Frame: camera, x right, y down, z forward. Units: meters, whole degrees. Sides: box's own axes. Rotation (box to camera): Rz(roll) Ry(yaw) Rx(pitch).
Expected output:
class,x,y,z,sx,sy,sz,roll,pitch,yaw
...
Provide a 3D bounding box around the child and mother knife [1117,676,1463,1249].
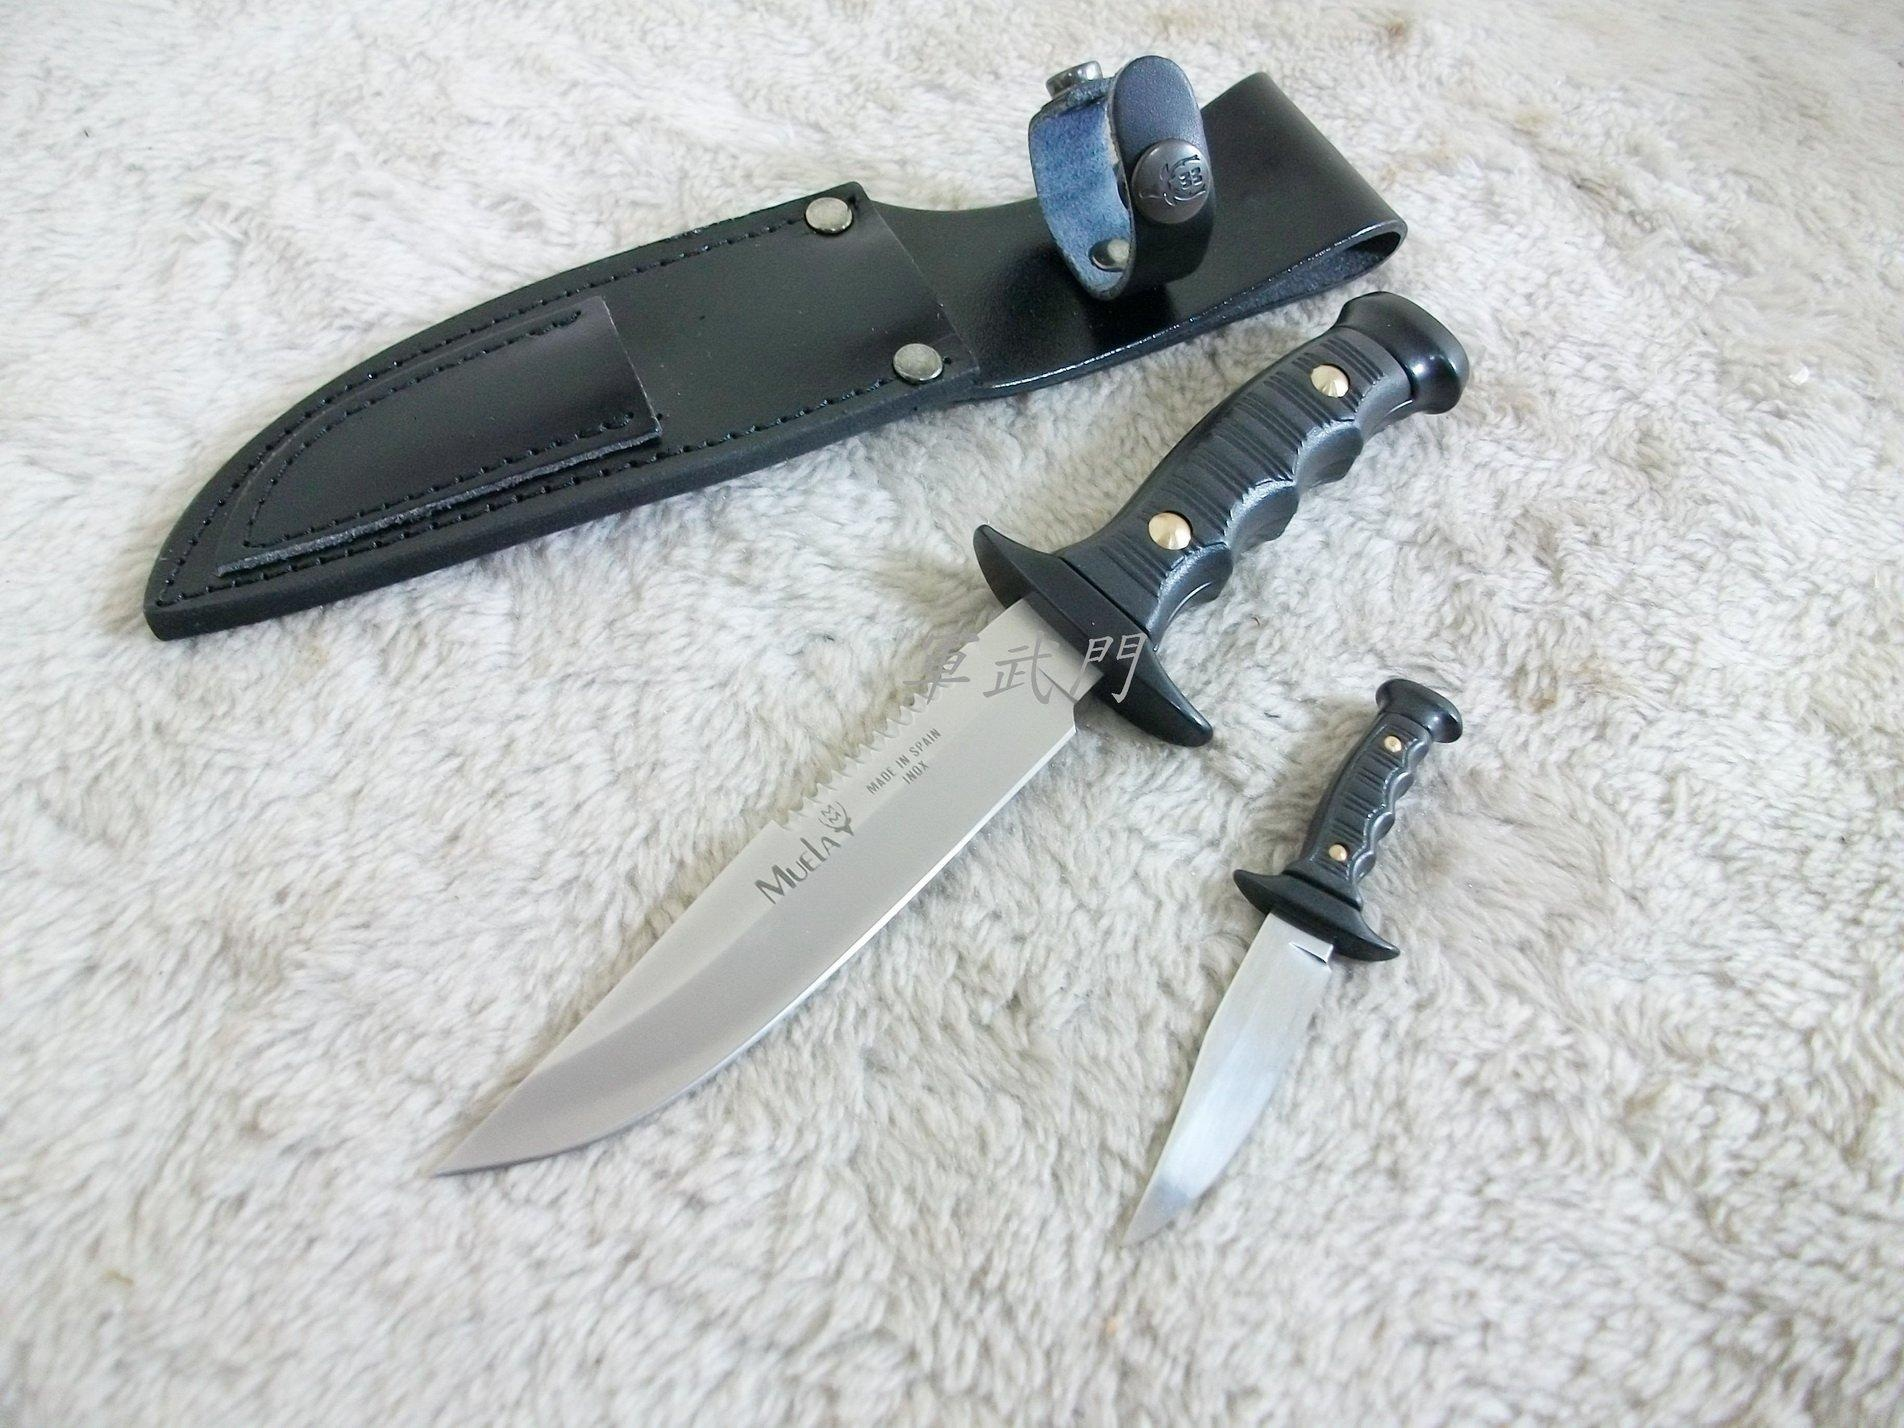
class,x,y,z,sx,sy,sz,roll,pitch,yaw
child and mother knife,0.326,0.227,1.782,0.175,0.058,0.645,32,64,7
